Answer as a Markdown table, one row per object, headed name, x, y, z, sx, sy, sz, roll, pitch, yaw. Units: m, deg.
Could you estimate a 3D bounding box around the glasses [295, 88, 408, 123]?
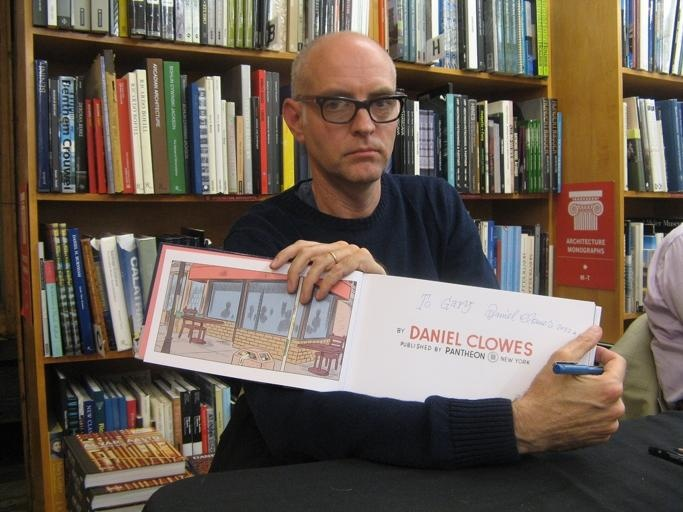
| name | x | y | z | sx | sy | sz | roll | pitch | yaw |
| --- | --- | --- | --- | --- | --- | --- | --- | --- | --- |
| glasses | 0.018 | -0.380 | 1.742 | 0.294 | 0.083 | 0.092 | 0 | 5 | 3 |
